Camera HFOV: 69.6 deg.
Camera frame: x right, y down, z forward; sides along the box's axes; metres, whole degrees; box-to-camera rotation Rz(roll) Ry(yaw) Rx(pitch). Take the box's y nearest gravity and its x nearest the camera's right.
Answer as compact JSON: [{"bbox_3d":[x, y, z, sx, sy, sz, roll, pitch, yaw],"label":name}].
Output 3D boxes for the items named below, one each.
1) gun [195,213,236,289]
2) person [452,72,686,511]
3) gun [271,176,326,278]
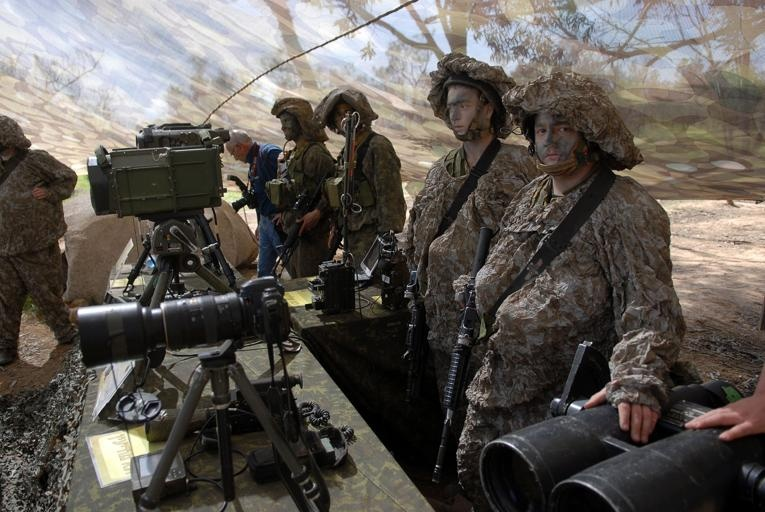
[{"bbox_3d":[-1.492,-0.102,4.848,0.290,0.730,0.887,-7,14,-16],"label":"gun"},{"bbox_3d":[0.983,0.273,2.913,1.109,2.424,1.032,5,16,30],"label":"person"},{"bbox_3d":[-0.907,-0.350,6.026,0.112,1.080,0.594,19,-19,-30],"label":"gun"}]
